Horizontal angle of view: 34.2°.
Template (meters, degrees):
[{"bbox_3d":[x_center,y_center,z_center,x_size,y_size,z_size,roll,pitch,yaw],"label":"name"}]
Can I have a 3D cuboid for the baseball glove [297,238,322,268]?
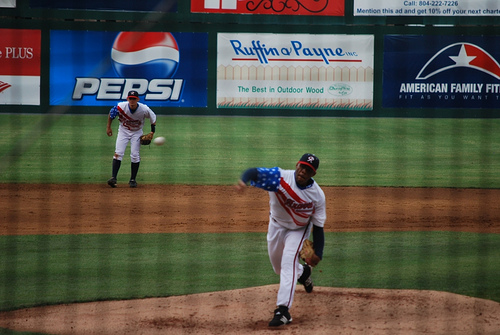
[{"bbox_3d":[1.202,1.808,16.948,0.625,0.409,0.228,25,-13,25],"label":"baseball glove"}]

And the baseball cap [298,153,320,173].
[{"bbox_3d":[1.192,-0.087,16.701,0.426,0.353,0.220,1,5,-19],"label":"baseball cap"}]

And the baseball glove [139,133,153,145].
[{"bbox_3d":[-2.894,-0.777,22.216,0.340,0.303,0.412,2,5,-9],"label":"baseball glove"}]

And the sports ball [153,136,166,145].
[{"bbox_3d":[-2.506,-0.706,22.073,0.267,0.174,0.153,-23,-31,23],"label":"sports ball"}]

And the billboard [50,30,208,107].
[{"bbox_3d":[-4.288,-3.450,28.598,5.451,2.722,0.485,2,5,-1],"label":"billboard"}]
